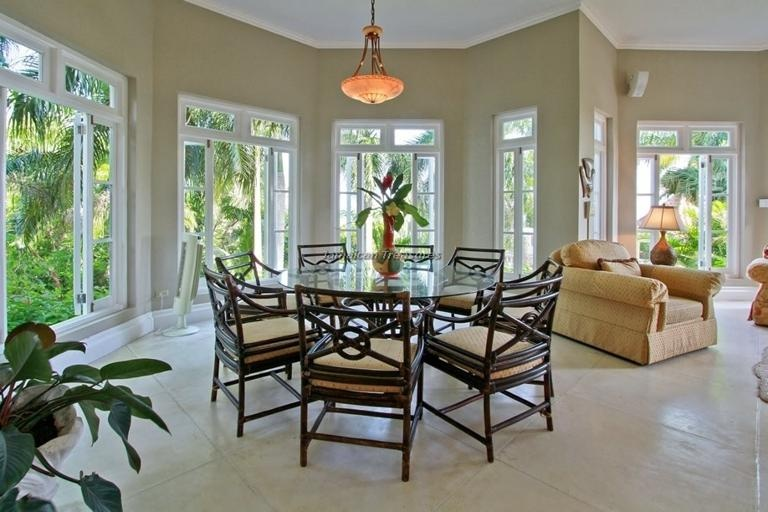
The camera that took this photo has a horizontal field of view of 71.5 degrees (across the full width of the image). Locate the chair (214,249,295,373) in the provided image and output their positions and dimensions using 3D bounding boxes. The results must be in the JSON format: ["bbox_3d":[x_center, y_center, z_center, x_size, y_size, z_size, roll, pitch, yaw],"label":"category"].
[{"bbox_3d":[-1.171,0.409,5.267,0.646,0.803,0.640,-9,18,-24],"label":"chair"}]

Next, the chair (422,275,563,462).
[{"bbox_3d":[0.892,0.803,4.460,0.896,1.344,0.953,-6,12,-30],"label":"chair"}]

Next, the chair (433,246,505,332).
[{"bbox_3d":[0.884,0.336,5.480,0.756,0.916,0.762,8,-5,-15],"label":"chair"}]

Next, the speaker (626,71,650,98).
[{"bbox_3d":[3.566,-2.427,7.464,0.272,0.355,0.388,1,5,25],"label":"speaker"}]

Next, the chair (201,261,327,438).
[{"bbox_3d":[-1.032,0.743,4.685,1.032,1.273,1.052,3,11,13],"label":"chair"}]

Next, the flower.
[{"bbox_3d":[0.009,-0.556,4.960,0.560,0.395,0.660,-5,-2,-21],"label":"flower"}]

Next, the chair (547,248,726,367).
[{"bbox_3d":[2.693,0.433,5.835,1.193,1.220,1.231,-4,6,-31],"label":"chair"}]

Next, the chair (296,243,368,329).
[{"bbox_3d":[-0.686,0.164,5.815,0.536,0.771,0.554,1,-15,-17],"label":"chair"}]
